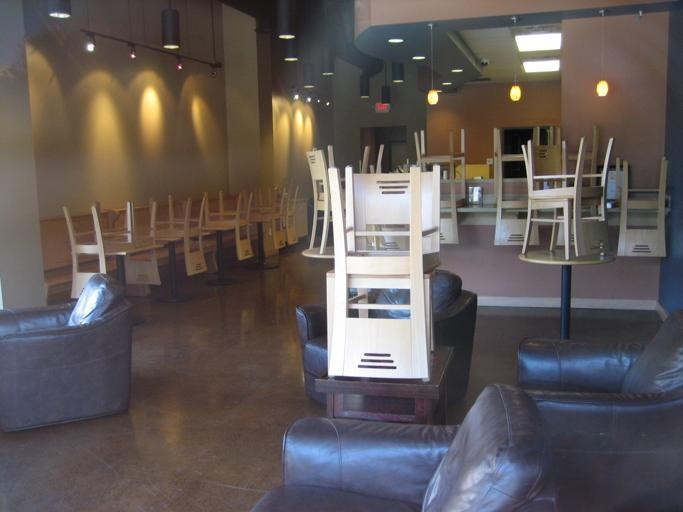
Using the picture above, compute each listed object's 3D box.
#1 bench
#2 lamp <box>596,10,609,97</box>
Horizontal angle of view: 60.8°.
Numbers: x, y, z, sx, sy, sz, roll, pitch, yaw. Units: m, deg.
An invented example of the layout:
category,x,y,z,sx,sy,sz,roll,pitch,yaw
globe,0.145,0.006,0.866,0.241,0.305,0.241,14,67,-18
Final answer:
category,x,y,z,sx,sy,sz,roll,pitch,yaw
bench,-2.548,-0.216,8.250,1.831,1.349,4.133,1,11,18
lamp,3.151,-2.401,6.980,0.159,0.953,0.330,2,11,25
